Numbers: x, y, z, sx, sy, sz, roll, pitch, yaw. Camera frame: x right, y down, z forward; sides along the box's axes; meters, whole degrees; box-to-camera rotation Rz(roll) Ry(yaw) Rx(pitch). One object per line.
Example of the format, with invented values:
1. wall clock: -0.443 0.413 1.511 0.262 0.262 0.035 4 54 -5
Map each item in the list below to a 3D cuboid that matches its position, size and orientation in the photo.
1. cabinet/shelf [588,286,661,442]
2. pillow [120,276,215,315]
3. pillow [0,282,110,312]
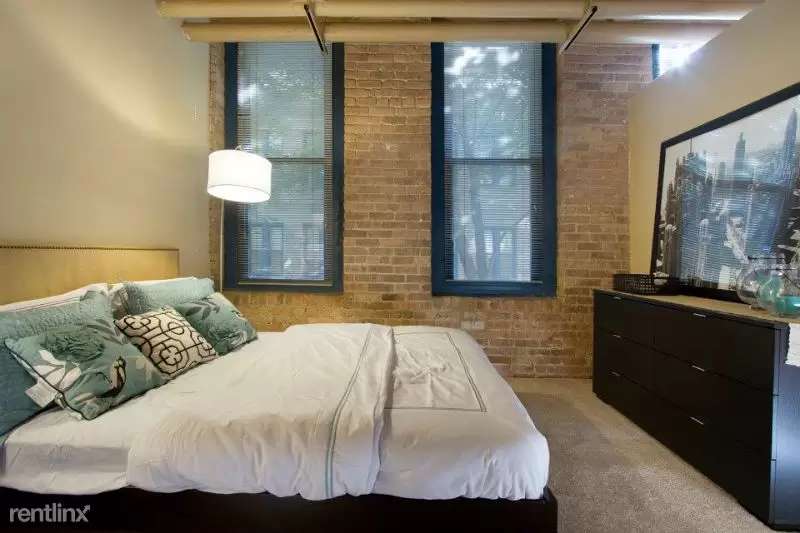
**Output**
1. cabinet/shelf: 2.093 0.776 5.092 0.435 1.112 1.144 -1 5 -6
2. pillow: -1.831 0.215 4.682 0.157 0.218 0.714 -12 -4 38
3. pillow: -2.428 0.208 4.120 0.504 0.048 0.184 -2 37 -39
